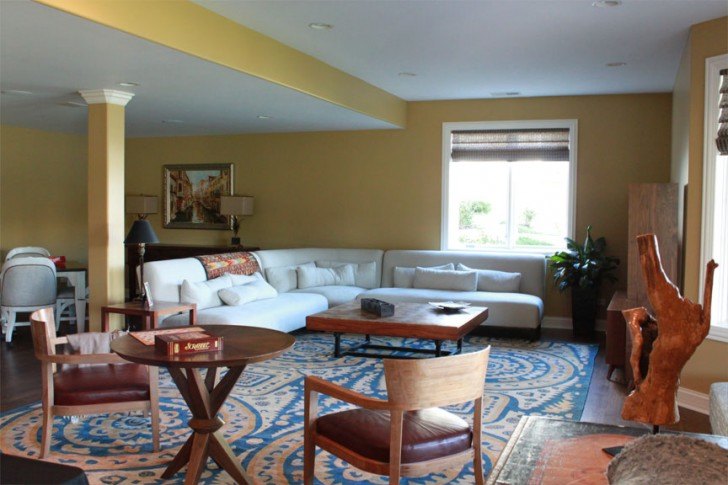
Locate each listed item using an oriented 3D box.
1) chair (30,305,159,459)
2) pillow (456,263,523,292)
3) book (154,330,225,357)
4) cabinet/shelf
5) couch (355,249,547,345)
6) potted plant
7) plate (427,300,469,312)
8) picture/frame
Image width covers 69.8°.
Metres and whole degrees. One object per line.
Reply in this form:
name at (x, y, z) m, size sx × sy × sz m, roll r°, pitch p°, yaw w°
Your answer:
chair at (-1.898, 1.042, 3.932) m, size 0.963 × 0.830 × 0.765 m, roll 1°, pitch -2°, yaw -20°
pillow at (1.818, 0.516, 7.613) m, size 0.863 × 0.357 × 0.369 m, roll 1°, pitch 6°, yaw 21°
book at (-1.115, 0.630, 3.315) m, size 0.362 × 0.101 × 0.305 m, roll -5°, pitch 7°, yaw -37°
cabinet/shelf at (2.983, 0.383, 5.643) m, size 0.670 × 2.045 × 1.265 m, roll 3°, pitch 8°, yaw 36°
couch at (1.275, 0.700, 7.627) m, size 2.474 × 0.953 × 1.030 m, roll 2°, pitch 6°, yaw 15°
potted plant at (3.158, 0.548, 7.518) m, size 1.077 × 1.363 × 0.918 m, roll -22°, pitch 22°, yaw -37°
plate at (0.989, 0.741, 6.058) m, size 0.451 × 0.080 × 0.358 m, roll -1°, pitch 5°, yaw 2°
picture/frame at (-3.116, -0.896, 9.690) m, size 0.095 × 1.134 × 1.454 m, roll 10°, pitch 12°, yaw 32°
